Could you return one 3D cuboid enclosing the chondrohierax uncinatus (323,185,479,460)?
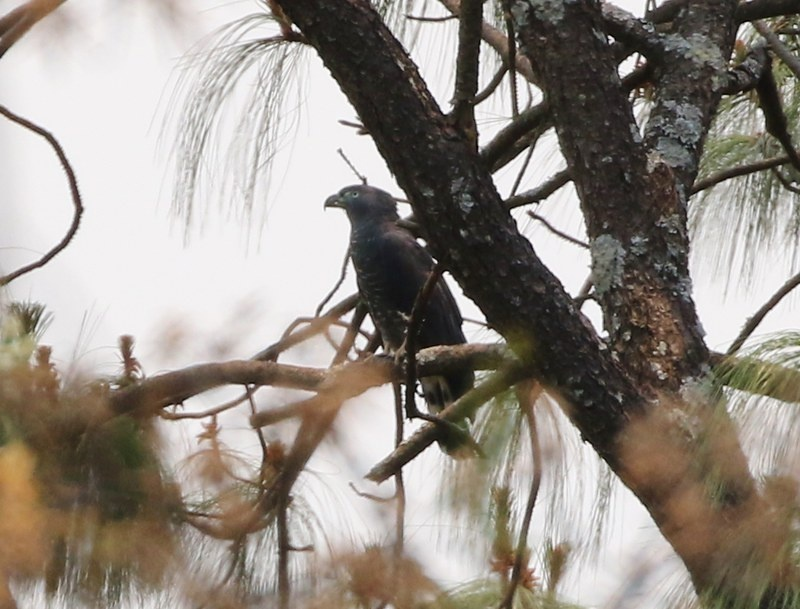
[{"bbox_3d":[0.033,0.065,5.854,0.596,0.982,0.325,12,-32,-8],"label":"chondrohierax uncinatus"}]
